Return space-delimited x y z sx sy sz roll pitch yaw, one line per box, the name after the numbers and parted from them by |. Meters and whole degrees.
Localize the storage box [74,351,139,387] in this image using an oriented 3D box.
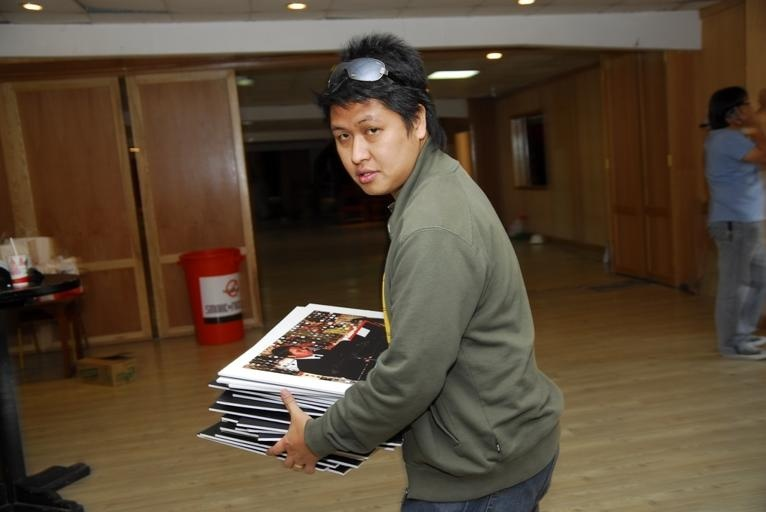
-2.555 1.036 5.460 0.344 0.139 0.337 3 5 25 | storage box
